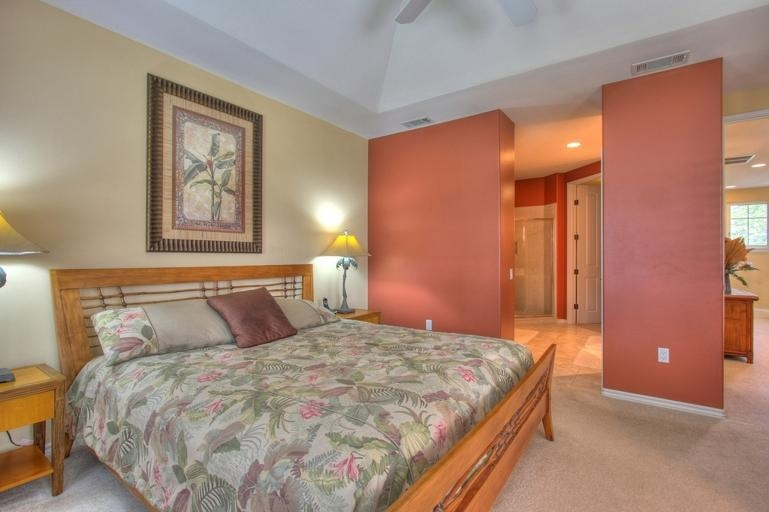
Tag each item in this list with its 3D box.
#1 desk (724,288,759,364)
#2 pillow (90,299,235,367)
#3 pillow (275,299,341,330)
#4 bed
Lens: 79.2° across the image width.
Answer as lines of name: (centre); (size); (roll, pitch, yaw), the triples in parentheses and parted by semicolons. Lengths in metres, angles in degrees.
desk: (4.519, 0.904, 5.865); (0.364, 0.543, 0.191); (-5, 2, 35)
pillow: (-1.872, 0.632, 4.045); (0.997, 0.286, 0.721); (0, 27, -42)
pillow: (-0.795, 0.582, 4.671); (0.383, 0.110, 0.351); (16, 6, 39)
bed: (-0.513, 0.840, 3.795); (2.613, 1.312, 2.622); (6, 7, 33)
